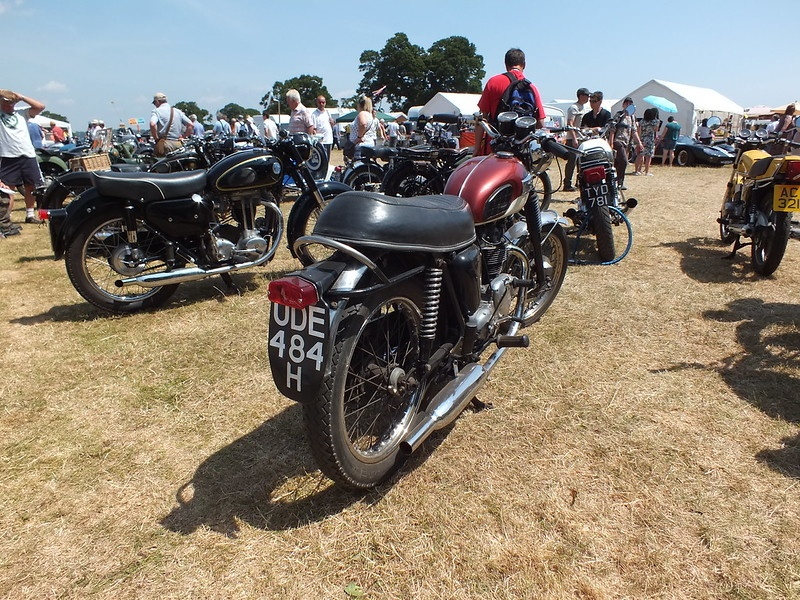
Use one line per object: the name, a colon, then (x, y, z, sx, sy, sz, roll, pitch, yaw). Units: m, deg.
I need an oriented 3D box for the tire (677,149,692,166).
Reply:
tire: (8.044, -4.049, 16.452, 0.175, 0.481, 0.480, -6, 9, -24)

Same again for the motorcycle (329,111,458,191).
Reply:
motorcycle: (0.101, -1.973, 8.403, 1.933, 1.116, 1.220, -13, 29, -14)

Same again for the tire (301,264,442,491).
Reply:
tire: (-0.172, 0.496, 3.408, 0.489, 1.155, 0.846, 6, 25, 19)

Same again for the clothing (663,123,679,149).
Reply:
clothing: (7.308, -4.424, 15.707, 0.343, 0.757, 0.684, 7, 25, 21)

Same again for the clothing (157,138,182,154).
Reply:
clothing: (-4.674, -3.057, 11.642, 0.339, 0.197, 0.436, -22, 31, -28)

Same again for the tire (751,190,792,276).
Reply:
tire: (3.933, -0.680, 6.191, 0.337, 0.858, 0.392, 12, 27, 31)

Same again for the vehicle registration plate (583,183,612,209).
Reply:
vehicle registration plate: (2.288, -1.220, 6.832, 0.282, 0.207, 0.275, -6, 12, -39)

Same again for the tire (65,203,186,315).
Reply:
tire: (-2.560, -0.405, 5.444, 0.927, 0.913, 0.289, 16, -3, -21)
